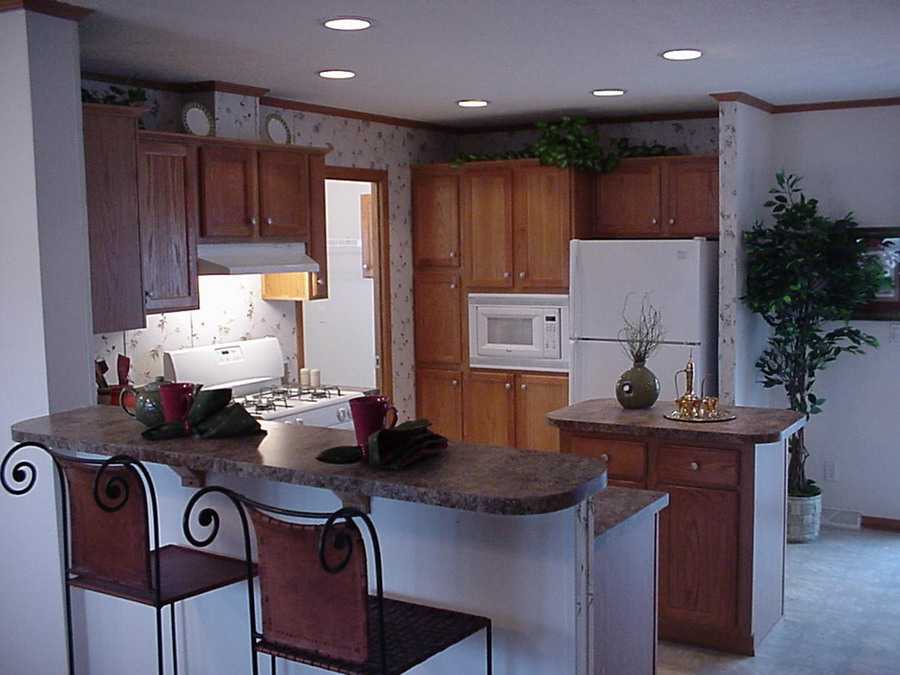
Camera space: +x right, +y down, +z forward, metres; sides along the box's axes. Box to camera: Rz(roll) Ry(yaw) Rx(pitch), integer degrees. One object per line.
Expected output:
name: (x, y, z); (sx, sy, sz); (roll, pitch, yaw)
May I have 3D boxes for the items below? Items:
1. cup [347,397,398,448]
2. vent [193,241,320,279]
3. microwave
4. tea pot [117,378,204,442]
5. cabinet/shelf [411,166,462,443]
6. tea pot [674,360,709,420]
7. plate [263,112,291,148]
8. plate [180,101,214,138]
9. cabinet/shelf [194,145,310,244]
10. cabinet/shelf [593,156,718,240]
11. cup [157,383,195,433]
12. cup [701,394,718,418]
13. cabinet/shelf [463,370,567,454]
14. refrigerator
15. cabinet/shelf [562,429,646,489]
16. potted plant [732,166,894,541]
cup: (-0.207, 0.241, 2.088); (0.152, 0.145, 0.101); (9, 21, 26)
vent: (-1.143, -0.480, 4.464); (0.290, 0.273, 0.840); (4, 14, 31)
microwave: (0.657, -0.060, 5.739); (0.863, 0.568, 0.505); (2, 6, 36)
tea pot: (-1.009, 0.221, 2.457); (0.146, 0.140, 0.210); (12, 8, 33)
cabinet/shelf: (-0.057, -0.028, 6.177); (0.540, 2.713, 0.509); (-5, 19, -11)
tea pot: (1.167, 0.243, 3.560); (0.160, 0.292, 0.134); (-3, 11, -9)
plate: (-1.099, -1.328, 4.661); (0.034, 0.234, 0.238); (-4, 3, 32)
plate: (-1.454, -1.260, 4.221); (0.155, 0.208, 0.326); (-6, 12, -8)
cabinet/shelf: (-1.110, -0.895, 4.533); (0.765, 0.554, 0.399); (5, 11, 14)
cabinet/shelf: (1.619, -1.040, 5.386); (0.964, 0.550, 0.338); (6, 23, 35)
cup: (-0.885, 0.223, 2.398); (0.116, 0.143, 0.123); (-4, 12, 1)
cup: (1.266, 0.341, 3.562); (0.090, 0.107, 0.084); (0, -2, 0)
cabinet/shelf: (0.575, 0.615, 5.762); (0.876, 0.796, 0.333); (3, 15, 17)
refrigerator: (1.247, -0.115, 4.893); (0.886, 1.075, 0.366); (-1, 13, 11)
cabinet/shelf: (0.794, 0.538, 3.585); (0.307, 0.426, 0.291); (1, 2, 34)
potted plant: (2.434, 0.101, 4.982); (0.937, 2.448, 0.754); (-15, 17, -42)
